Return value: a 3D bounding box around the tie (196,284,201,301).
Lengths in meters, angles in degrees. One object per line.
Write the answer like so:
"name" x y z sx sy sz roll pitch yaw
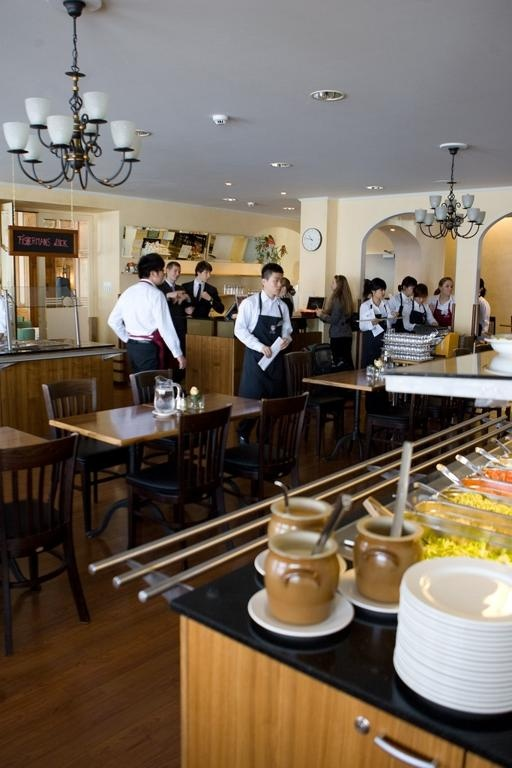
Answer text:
"tie" -0.756 -1.205 7.307 0.068 0.177 0.036 -6 10 -39

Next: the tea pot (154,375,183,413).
"tea pot" -0.523 0.064 3.308 0.234 0.243 0.159 8 8 44

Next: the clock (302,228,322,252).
"clock" 0.897 -2.315 8.902 0.105 0.391 0.382 -7 11 -43

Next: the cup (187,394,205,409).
"cup" -0.369 0.108 3.357 0.093 0.080 0.092 -1 3 0

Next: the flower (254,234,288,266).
"flower" 0.294 -2.850 11.688 0.534 0.648 1.159 1 8 7
